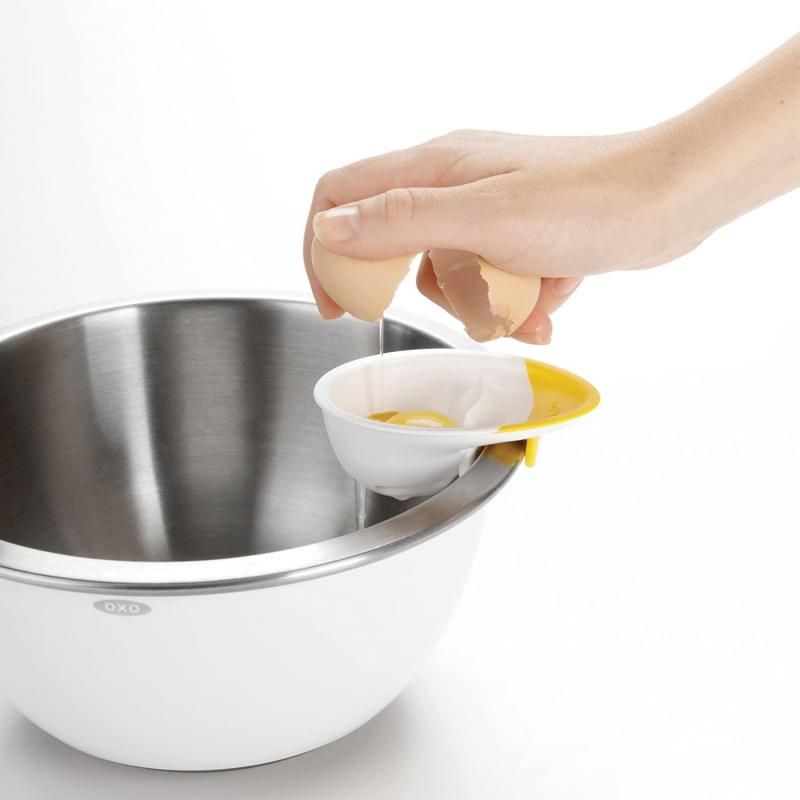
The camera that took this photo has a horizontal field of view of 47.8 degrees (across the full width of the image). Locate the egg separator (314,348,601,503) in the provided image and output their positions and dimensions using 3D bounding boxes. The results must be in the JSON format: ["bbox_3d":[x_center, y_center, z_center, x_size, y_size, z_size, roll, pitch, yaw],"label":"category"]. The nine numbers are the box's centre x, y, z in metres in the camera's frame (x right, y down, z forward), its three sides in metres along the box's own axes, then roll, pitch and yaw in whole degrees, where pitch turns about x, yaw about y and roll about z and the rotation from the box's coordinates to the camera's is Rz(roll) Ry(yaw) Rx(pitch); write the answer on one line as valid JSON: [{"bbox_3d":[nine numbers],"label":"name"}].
[{"bbox_3d":[0.058,0.013,1.097,0.325,0.087,0.212,6,21,15],"label":"egg separator"}]
